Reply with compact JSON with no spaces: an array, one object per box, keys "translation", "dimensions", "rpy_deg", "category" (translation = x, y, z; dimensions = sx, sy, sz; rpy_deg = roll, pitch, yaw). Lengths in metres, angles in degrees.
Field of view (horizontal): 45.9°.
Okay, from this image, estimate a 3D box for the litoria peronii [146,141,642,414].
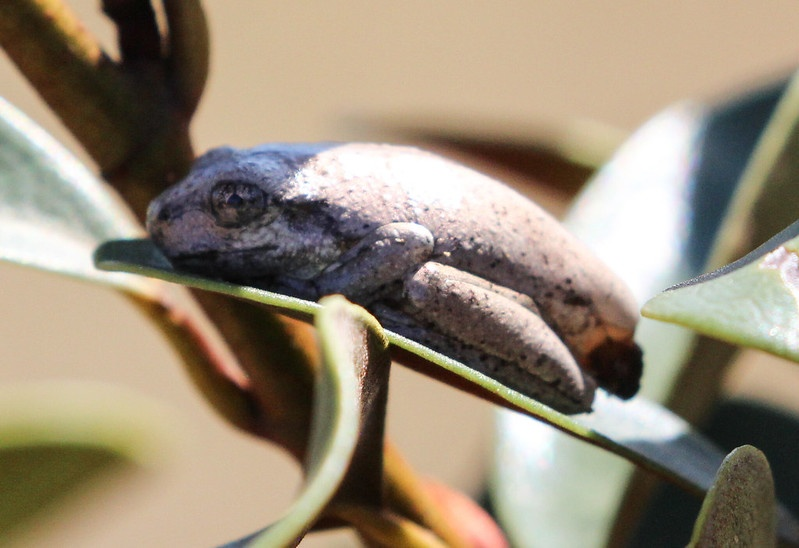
[{"translation":[0.003,-0.022,1.144],"dimensions":[0.468,0.338,0.218],"rpy_deg":[9,90,-4],"category":"litoria peronii"}]
